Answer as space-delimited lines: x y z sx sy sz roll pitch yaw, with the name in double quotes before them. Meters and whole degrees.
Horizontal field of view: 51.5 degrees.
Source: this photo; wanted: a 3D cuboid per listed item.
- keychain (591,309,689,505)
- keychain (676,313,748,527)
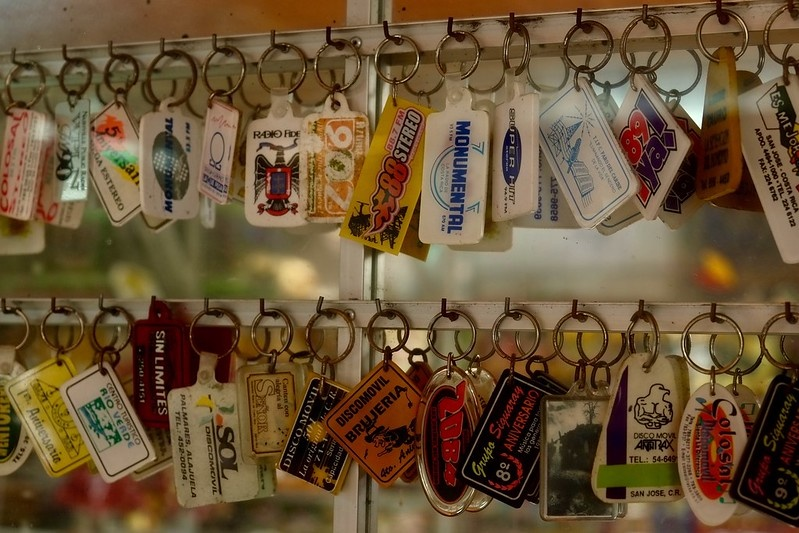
"keychain" 0.423 0.234 1.426 0.167 0.063 0.350 -2 59 19
"keychain" 0.520 0.256 1.371 0.101 0.063 0.365 -1 83 14
